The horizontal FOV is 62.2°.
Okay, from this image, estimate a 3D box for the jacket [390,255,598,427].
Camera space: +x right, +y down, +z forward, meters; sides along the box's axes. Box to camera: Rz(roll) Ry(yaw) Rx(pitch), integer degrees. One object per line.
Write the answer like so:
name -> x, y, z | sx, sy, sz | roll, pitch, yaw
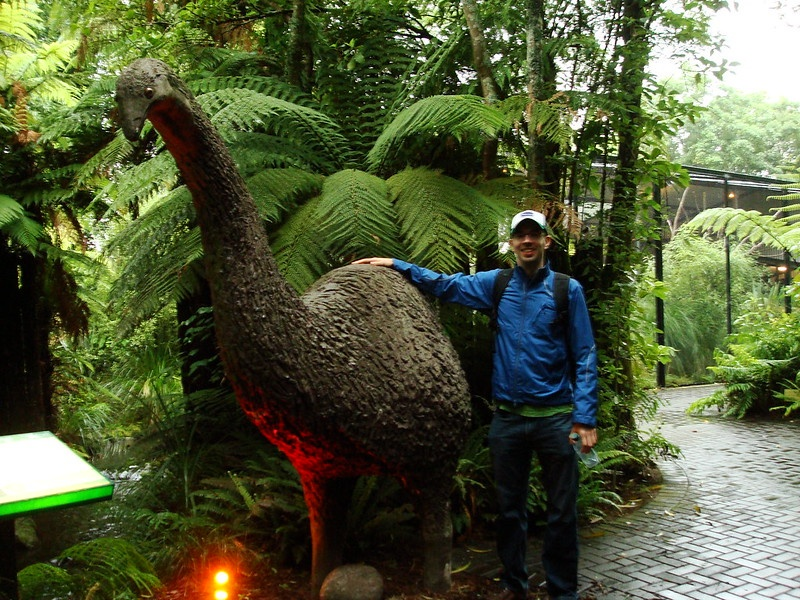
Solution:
jacket -> 0.611, 0.278, 4.457 | 1.884, 1.132, 0.836 | 0, -6, 16
